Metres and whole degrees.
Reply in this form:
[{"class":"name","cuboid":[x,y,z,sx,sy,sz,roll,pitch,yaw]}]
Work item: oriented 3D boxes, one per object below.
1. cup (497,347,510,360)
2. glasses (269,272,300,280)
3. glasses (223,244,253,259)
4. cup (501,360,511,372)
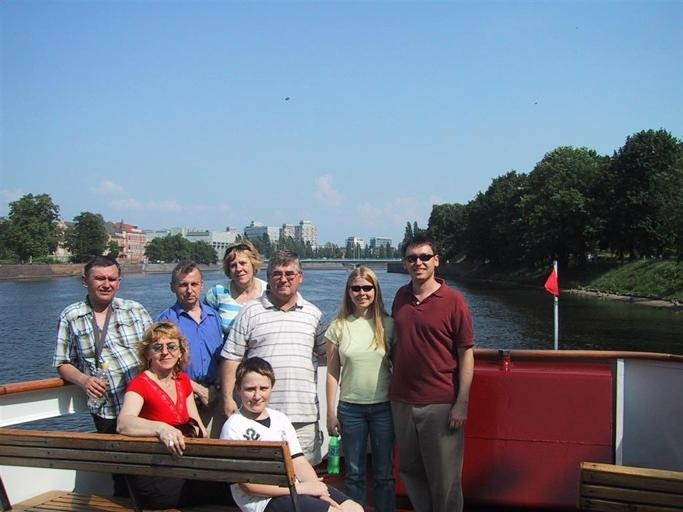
[{"class":"cup","cuboid":[1.363,0.811,5.201,0.095,0.095,0.080,0,-7,1]},{"class":"glasses","cuboid":[-0.452,0.146,4.884,0.210,0.073,0.076,2,-1,-7]},{"class":"glasses","cuboid":[-0.899,-0.058,5.509,0.125,0.072,0.169,-3,-12,4]},{"class":"cup","cuboid":[1.363,0.900,5.099,0.070,0.076,0.071,-1,2,0]}]
